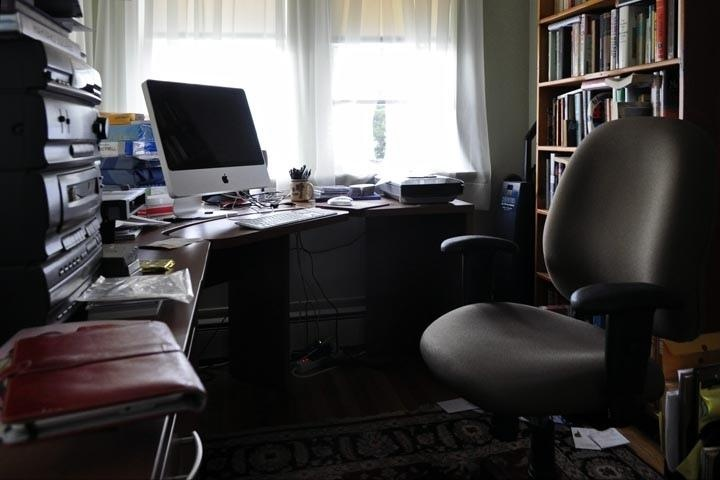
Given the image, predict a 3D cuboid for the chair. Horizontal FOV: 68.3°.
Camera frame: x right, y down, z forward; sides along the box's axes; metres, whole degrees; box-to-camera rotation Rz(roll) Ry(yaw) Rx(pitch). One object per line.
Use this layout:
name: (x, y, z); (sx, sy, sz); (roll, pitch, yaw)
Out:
chair: (0.625, 0.205, 1.674); (0.860, 1.134, 0.626); (-1, 13, 3)

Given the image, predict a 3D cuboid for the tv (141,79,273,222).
tv: (-0.724, -0.402, 2.444); (0.335, 0.716, 0.729); (4, 8, 32)

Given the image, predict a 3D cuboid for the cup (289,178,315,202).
cup: (-0.314, -0.270, 2.910); (0.133, 0.118, 0.087); (1, 4, -2)
